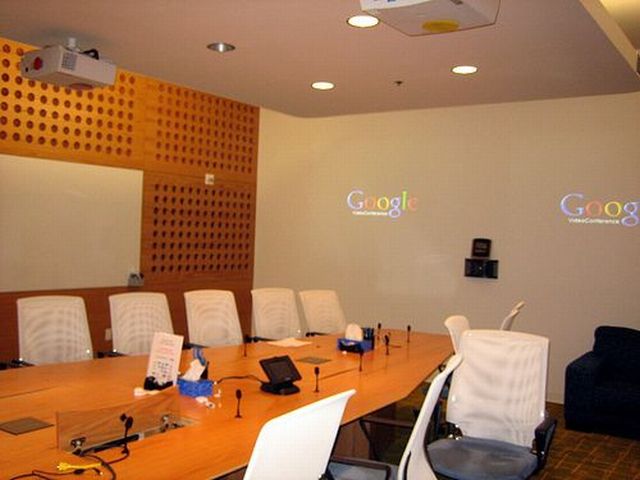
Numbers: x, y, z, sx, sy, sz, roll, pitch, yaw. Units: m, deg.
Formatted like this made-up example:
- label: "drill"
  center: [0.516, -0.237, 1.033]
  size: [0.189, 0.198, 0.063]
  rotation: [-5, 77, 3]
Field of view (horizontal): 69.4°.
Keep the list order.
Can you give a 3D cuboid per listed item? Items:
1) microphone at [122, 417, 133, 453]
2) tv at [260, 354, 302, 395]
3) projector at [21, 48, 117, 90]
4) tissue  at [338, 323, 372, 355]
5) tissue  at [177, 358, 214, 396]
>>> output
- label: "microphone"
  center: [-0.864, 0.855, 2.082]
  size: [0.052, 0.153, 0.201]
  rotation: [0, 0, -23]
- label: "tv"
  center: [-0.260, 0.844, 2.935]
  size: [0.216, 0.194, 0.250]
  rotation: [-5, -7, 42]
- label: "projector"
  center: [-2.247, -1.505, 4.133]
  size: [0.618, 0.261, 0.503]
  rotation: [0, 0, 35]
- label: "tissue "
  center: [0.344, 0.860, 4.142]
  size: [0.285, 0.204, 0.292]
  rotation: [0, -1, 41]
- label: "tissue "
  center: [-0.765, 0.821, 2.758]
  size: [0.229, 0.197, 0.119]
  rotation: [10, -19, -18]
